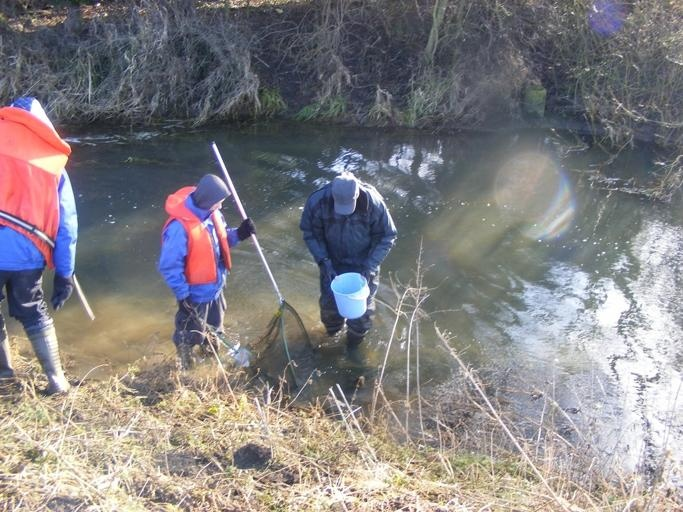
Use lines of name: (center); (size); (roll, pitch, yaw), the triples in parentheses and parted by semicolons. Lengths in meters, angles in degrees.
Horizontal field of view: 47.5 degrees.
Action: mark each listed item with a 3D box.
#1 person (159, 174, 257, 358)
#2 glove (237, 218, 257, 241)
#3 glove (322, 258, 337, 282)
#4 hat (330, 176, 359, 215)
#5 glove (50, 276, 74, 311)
person: (-1.921, 0.173, 10.508); (1.096, 2.571, 0.749); (3, 23, -23)
glove: (-1.315, -0.362, 10.642); (0.224, 0.302, 0.107); (48, 24, 16)
glove: (-0.202, 0.212, 11.114); (0.099, 0.302, 0.218); (-22, -4, -33)
hat: (0.055, -0.834, 10.655); (0.337, 0.527, 0.266); (3, -9, 9)
glove: (-3.694, 0.491, 10.306); (0.271, 0.461, 0.224); (48, 21, 26)
